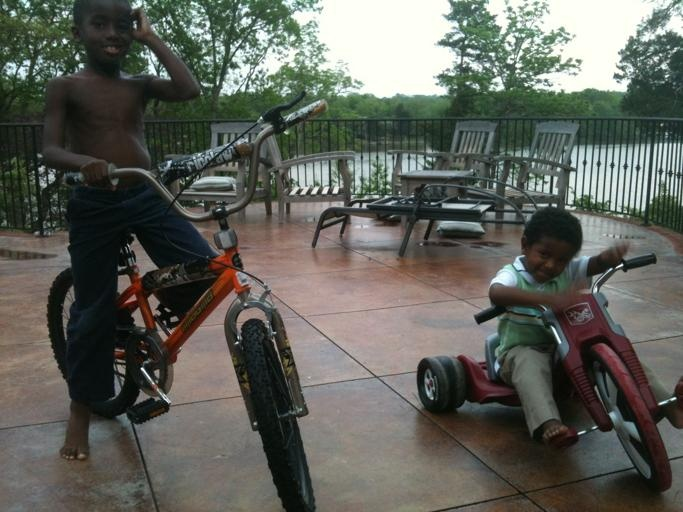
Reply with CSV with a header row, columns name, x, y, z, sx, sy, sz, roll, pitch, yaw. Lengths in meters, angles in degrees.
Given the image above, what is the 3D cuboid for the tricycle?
name,x,y,z,sx,sy,sz,roll,pitch,yaw
tricycle,0.890,0.556,2.818,0.919,0.653,1.163,-11,-1,-10
